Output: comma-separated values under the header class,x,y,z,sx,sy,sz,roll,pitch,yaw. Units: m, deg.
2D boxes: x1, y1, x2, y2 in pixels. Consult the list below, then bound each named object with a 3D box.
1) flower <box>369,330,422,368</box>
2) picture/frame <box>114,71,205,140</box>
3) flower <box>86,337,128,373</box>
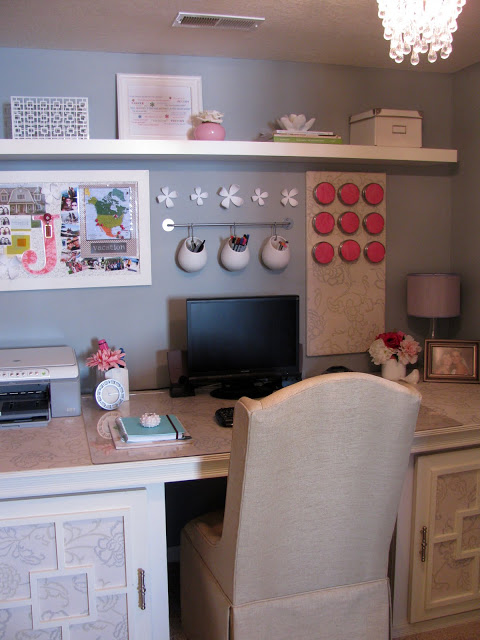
class,x,y,z,sx,sy,sz,roll,pitch,yaw
flower,0.628,0.097,2.207,0.160,0.094,0.161,-3,7,-7
picture/frame,-0.324,-0.822,2.034,0.333,0.252,0.017,-4,7,-16
flower,-0.493,0.128,1.986,0.135,0.097,0.136,-2,3,5
